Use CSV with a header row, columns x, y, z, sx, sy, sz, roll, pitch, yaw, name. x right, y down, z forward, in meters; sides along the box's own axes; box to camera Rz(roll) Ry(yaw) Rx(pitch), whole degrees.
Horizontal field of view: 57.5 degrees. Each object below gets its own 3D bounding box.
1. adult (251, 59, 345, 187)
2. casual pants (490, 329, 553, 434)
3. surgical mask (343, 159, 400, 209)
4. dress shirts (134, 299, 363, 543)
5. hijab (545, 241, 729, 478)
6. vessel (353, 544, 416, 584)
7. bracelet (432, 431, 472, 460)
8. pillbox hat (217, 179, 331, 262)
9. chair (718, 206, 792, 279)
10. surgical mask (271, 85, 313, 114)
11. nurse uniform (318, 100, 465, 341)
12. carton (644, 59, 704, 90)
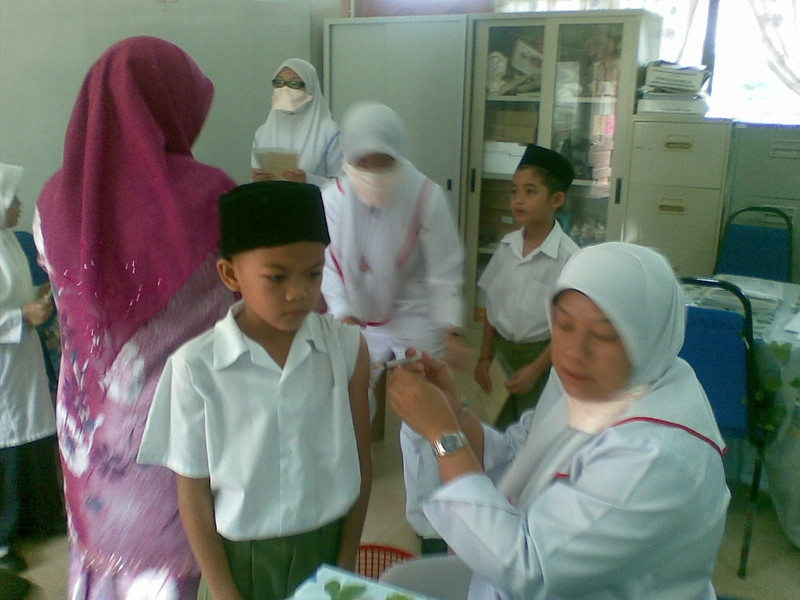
x,y,z,sx,sy,sz,roll,pitch,yaw,name
-0.558,-0.940,3.936,0.527,0.719,0.450,5,18,8,adult
0.454,0.291,2.668,0.115,0.170,0.390,-12,-28,-23,casual pants
-0.087,-0.403,2.505,0.155,0.090,0.160,-3,55,-11,surgical mask
-0.325,0.289,1.824,0.610,0.566,0.264,-6,7,-28,dress shirts
0.535,0.129,1.806,0.317,0.544,0.544,-4,15,-24,hijab
-0.044,0.824,2.342,0.191,0.072,0.195,2,1,5,vessel
0.118,0.343,1.768,0.056,0.029,0.073,-33,-3,10,bracelet
-0.298,-0.201,1.715,0.194,0.124,0.196,2,12,33,pillbox hat
1.839,-0.311,3.751,0.345,0.361,0.403,5,14,28,chair
-0.573,-1.068,3.885,0.228,0.129,0.131,0,12,5,surgical mask
-0.084,-0.217,2.613,0.576,0.901,0.543,-7,30,-3,nurse uniform
1.501,-1.208,3.947,0.321,0.175,0.095,3,13,21,carton
